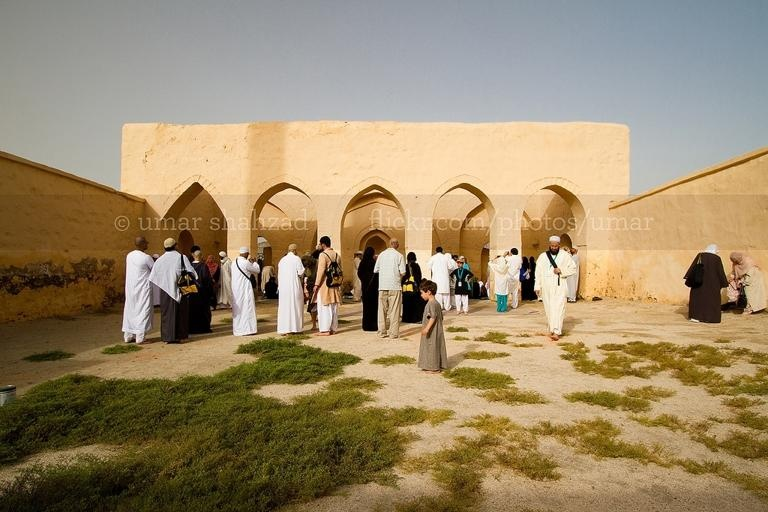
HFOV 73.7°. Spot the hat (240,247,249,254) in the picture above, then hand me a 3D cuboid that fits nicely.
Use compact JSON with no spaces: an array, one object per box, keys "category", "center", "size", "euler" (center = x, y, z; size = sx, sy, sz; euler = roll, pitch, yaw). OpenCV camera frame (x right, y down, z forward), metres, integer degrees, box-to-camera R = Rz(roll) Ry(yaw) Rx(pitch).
[{"category":"hat","center":[-2.552,-0.115,9.399],"size":[0.141,0.114,0.113],"euler":[-1,8,-8]}]

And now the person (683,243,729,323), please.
[{"category":"person","center":[6.163,0.599,9.856],"size":[0.653,1.293,0.401],"euler":[9,16,32]}]
